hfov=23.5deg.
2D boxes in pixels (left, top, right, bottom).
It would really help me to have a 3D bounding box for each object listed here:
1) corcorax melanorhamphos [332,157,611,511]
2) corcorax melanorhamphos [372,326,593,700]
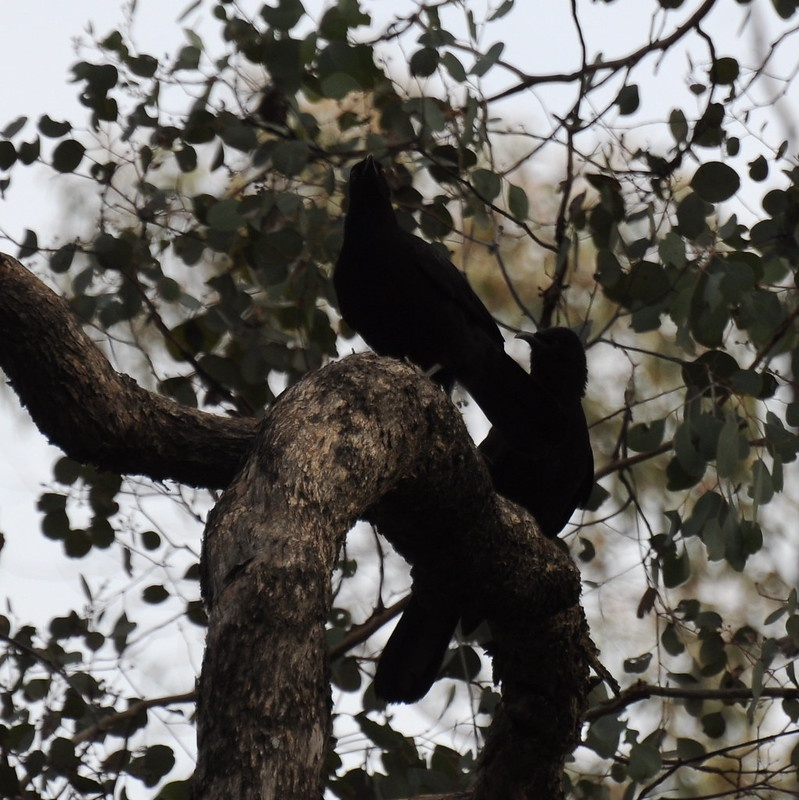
[{"bbox_3d":[0.156,-0.248,6.204,1.097,0.749,0.391,32,-39,-23],"label":"corcorax melanorhamphos"},{"bbox_3d":[0.190,0.498,6.053,0.358,1.153,0.772,21,-76,8],"label":"corcorax melanorhamphos"}]
